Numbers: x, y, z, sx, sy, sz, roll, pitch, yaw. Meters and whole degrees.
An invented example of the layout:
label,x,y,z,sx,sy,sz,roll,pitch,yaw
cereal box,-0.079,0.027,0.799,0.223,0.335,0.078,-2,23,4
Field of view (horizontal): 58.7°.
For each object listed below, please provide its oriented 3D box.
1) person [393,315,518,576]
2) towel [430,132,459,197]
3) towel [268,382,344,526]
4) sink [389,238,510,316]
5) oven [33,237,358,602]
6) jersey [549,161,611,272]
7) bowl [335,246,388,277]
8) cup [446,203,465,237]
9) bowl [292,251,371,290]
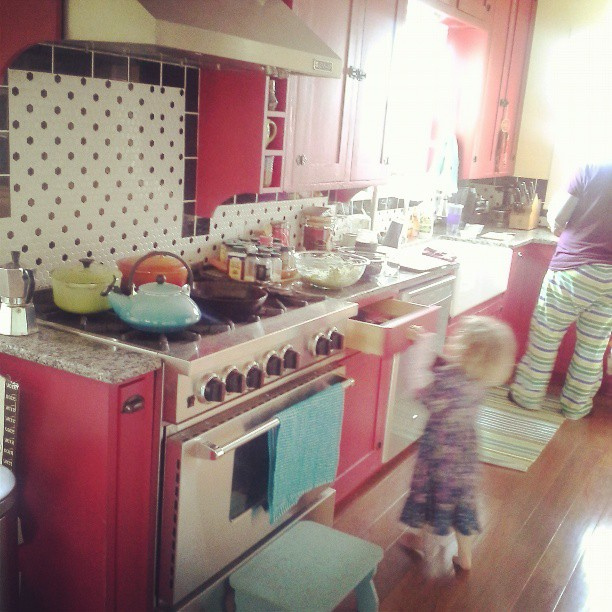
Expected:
label,x,y,z,sx,sy,sz,roll,pitch,yaw
person,0.520,0.511,2.045,0.364,0.999,0.338,10,13,22
towel,1.002,-1.010,3.875,0.094,0.416,0.246,10,13,39
towel,-0.010,0.477,1.803,0.065,0.471,0.474,7,18,27
sink,1.040,-0.151,3.825,0.506,0.369,0.945,20,30,35
oven,-0.313,0.387,1.859,0.657,0.975,0.792,18,19,34
jersey,1.718,-0.534,3.297,0.310,0.668,0.093,13,15,34
bowl,0.294,-0.221,2.585,0.180,0.074,0.192,1,16,0
cup,1.118,-0.656,4.158,0.102,0.225,0.251,7,13,13
bowl,0.075,-0.164,2.364,0.379,0.162,0.302,-6,18,-29
